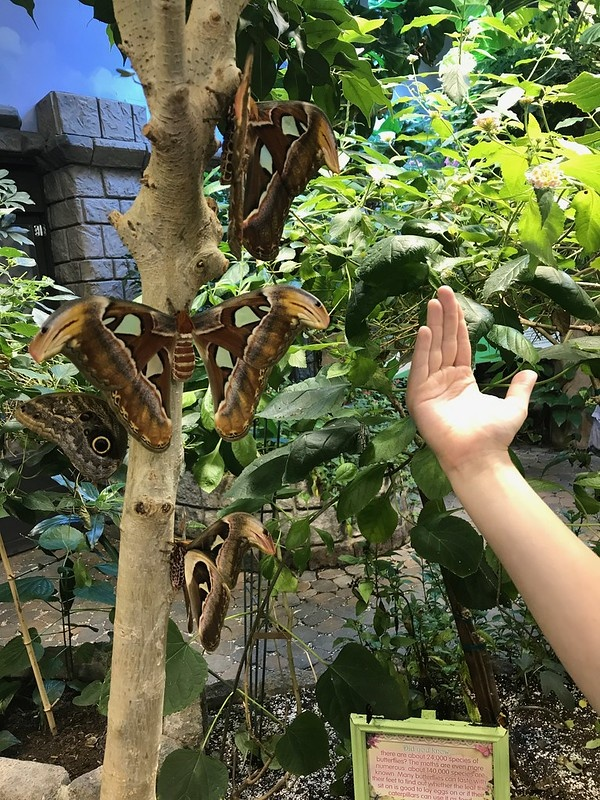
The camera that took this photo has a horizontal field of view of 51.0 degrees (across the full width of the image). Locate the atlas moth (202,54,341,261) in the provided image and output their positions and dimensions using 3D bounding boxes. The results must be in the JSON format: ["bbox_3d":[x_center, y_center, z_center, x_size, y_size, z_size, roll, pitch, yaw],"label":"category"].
[{"bbox_3d":[-0.044,-0.275,0.713,0.200,0.179,0.113,4,65,-23],"label":"atlas moth"}]

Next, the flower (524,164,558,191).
[{"bbox_3d":[0.311,-0.287,0.811,0.042,0.033,0.035,17,29,28],"label":"flower"}]

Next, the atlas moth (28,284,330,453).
[{"bbox_3d":[-0.119,-0.029,0.679,0.323,0.158,0.020,-5,-2,7],"label":"atlas moth"}]

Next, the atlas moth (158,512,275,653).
[{"bbox_3d":[-0.105,0.268,0.896,0.125,0.233,0.091,0,27,-5],"label":"atlas moth"}]
